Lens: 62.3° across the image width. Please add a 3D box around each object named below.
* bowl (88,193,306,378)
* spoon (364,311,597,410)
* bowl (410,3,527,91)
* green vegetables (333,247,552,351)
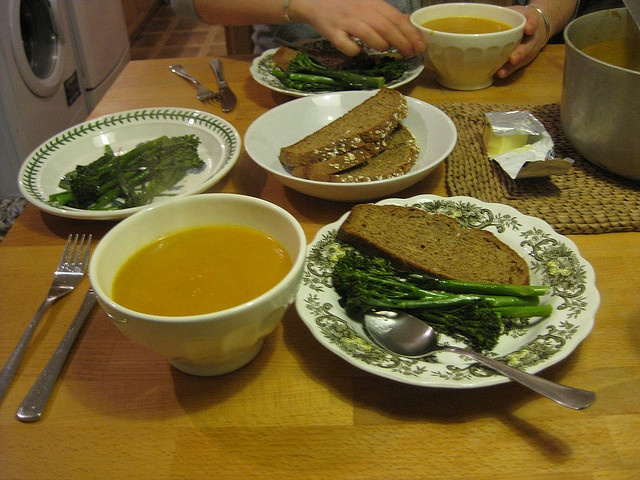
[{"bbox_3d":[-0.235,0.089,1.144,0.423,0.276,0.382,-35,57,-24],"label":"bowl"},{"bbox_3d":[0.220,0.238,1.161,0.644,0.062,0.126,13,45,24],"label":"spoon"},{"bbox_3d":[0.549,-0.686,2.015,0.554,0.218,0.371,1,41,7],"label":"bowl"},{"bbox_3d":[0.249,0.128,1.178,0.432,0.058,0.210,9,33,16],"label":"green vegetables"}]
